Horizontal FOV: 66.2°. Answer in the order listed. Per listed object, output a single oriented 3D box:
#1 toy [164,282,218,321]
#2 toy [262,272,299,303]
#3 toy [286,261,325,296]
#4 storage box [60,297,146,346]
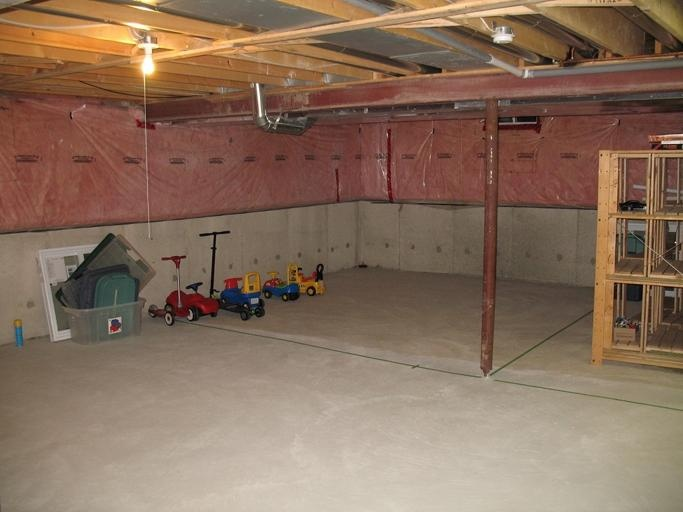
[{"bbox_3d":[-2.564,0.711,8.538,0.896,0.487,0.560,1,5,29],"label":"toy"},{"bbox_3d":[-1.165,0.587,10.086,0.797,0.448,0.420,3,10,30],"label":"toy"},{"bbox_3d":[-0.750,0.448,10.434,0.764,0.522,0.308,0,1,22],"label":"toy"},{"bbox_3d":[-3.434,0.930,7.550,0.644,0.427,0.918,7,10,43],"label":"storage box"}]
